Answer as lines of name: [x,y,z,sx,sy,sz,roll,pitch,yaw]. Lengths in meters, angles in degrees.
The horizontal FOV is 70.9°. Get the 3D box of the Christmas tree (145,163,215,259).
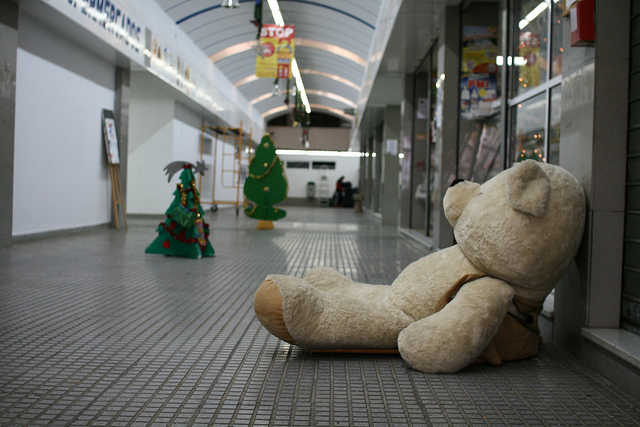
Christmas tree: [-2.131,-0.028,7.067,0.767,1.531,0.946,4,7,-3]

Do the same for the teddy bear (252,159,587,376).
teddy bear: [1.009,0.509,3.679,1.825,1.360,1.602,-1,0,8]

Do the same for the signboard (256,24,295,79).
signboard: [-1.224,-4.643,12.578,1.123,1.459,0.826,2,7,8]
